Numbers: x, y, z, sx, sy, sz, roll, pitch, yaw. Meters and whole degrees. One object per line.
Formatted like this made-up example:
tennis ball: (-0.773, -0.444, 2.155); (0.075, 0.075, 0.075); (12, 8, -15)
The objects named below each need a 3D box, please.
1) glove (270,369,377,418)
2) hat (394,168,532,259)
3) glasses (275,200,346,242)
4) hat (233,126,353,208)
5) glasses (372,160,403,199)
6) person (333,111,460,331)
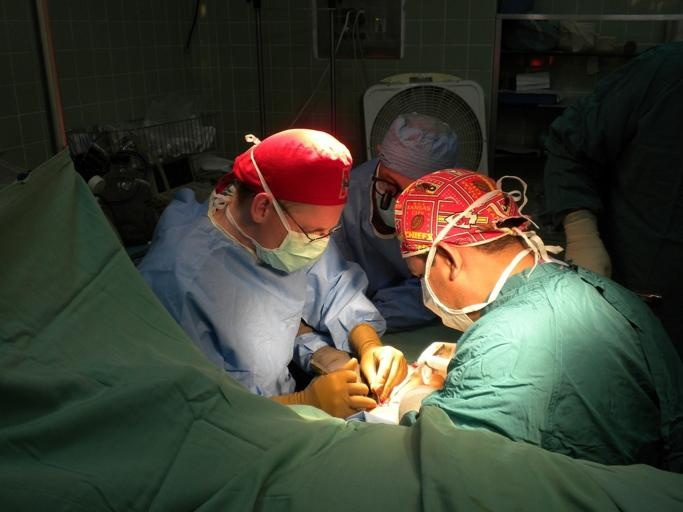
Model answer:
glove: (-0.050, 0.426, 1.810); (0.334, 0.116, 0.135); (7, 14, 12)
hat: (0.323, -0.133, 1.547); (0.349, 0.210, 0.288); (2, 14, 18)
glasses: (-0.084, -0.109, 1.721); (0.128, 0.076, 0.136); (-5, 54, -45)
hat: (-0.164, -0.305, 1.773); (0.373, 0.211, 0.302); (16, 25, 19)
glasses: (0.201, -0.316, 2.437); (0.130, 0.081, 0.142); (34, 1, 2)
person: (0.251, -0.179, 2.507); (0.584, 0.928, 0.251); (8, 9, 36)
